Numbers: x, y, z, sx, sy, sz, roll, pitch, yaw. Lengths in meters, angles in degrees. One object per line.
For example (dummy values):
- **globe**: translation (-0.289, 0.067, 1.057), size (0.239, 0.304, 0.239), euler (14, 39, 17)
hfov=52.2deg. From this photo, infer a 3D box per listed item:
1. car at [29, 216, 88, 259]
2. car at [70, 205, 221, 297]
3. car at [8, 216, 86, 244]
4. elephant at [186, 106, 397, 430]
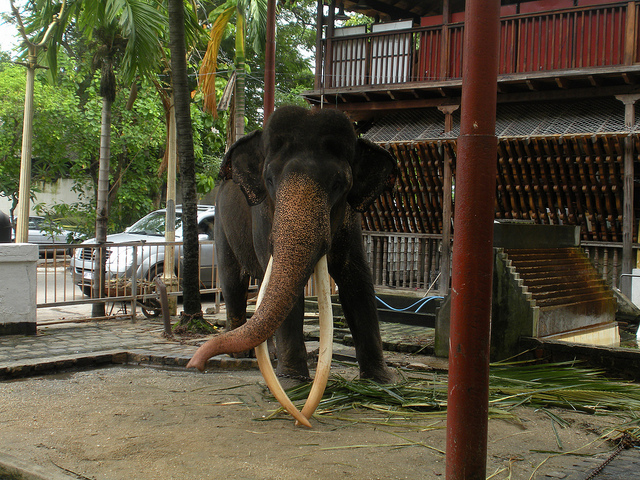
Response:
- **car**: translation (-9.705, -0.137, 24.444), size (2.983, 1.351, 1.312), euler (4, 15, 18)
- **car**: translation (-3.565, 0.210, 13.868), size (3.672, 1.855, 2.183), euler (5, -5, -43)
- **car**: translation (-8.361, -0.297, 20.182), size (2.108, 0.753, 1.005), euler (-2, 0, -6)
- **elephant**: translation (-0.385, 0.162, 7.433), size (2.200, 2.825, 4.980), euler (-4, 0, -7)
